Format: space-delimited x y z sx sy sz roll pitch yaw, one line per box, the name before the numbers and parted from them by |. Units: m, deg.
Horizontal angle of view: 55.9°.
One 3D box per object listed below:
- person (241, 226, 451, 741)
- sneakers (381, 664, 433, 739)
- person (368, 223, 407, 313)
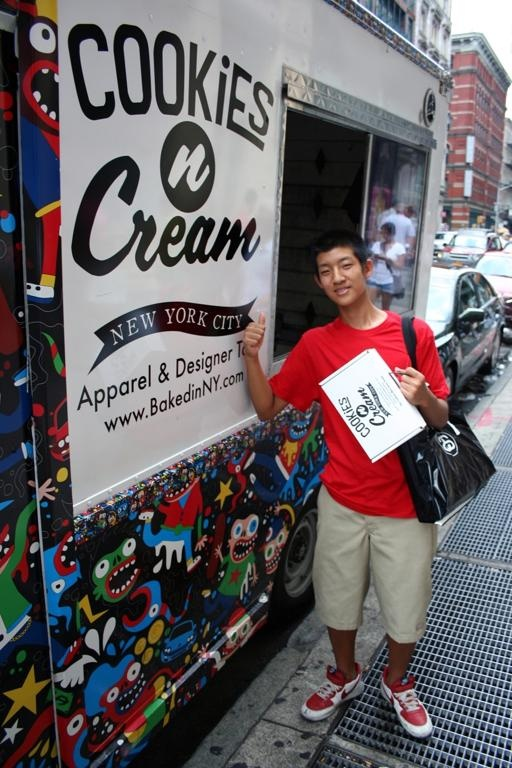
person | 0.383 0.451 1.967 0.758 2.085 0.518 1 12 22
sneakers | 0.640 1.364 2.194 0.116 0.162 0.354 -6 18 -15
person | 0.900 -0.727 3.425 0.222 0.783 0.221 -3 30 -2
